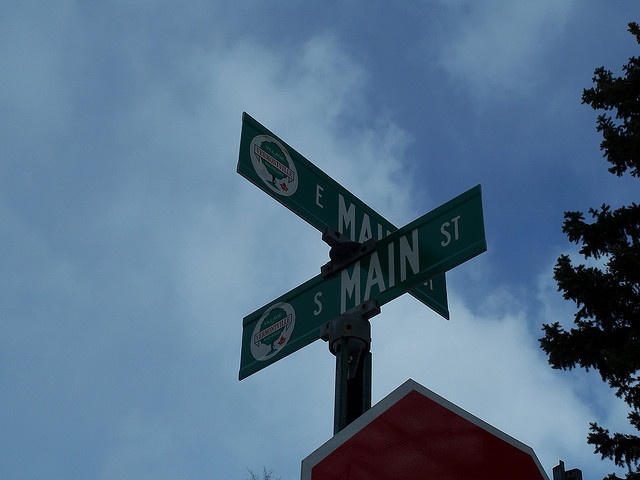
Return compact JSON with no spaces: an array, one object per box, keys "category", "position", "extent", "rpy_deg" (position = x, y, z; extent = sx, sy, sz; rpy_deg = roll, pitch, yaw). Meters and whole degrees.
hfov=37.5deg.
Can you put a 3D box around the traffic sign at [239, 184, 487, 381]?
[{"category":"traffic sign","position":[0.349,0.300,8.491],"extent":[1.835,0.720,0.279],"rpy_deg":[-37,-60,24]}]
